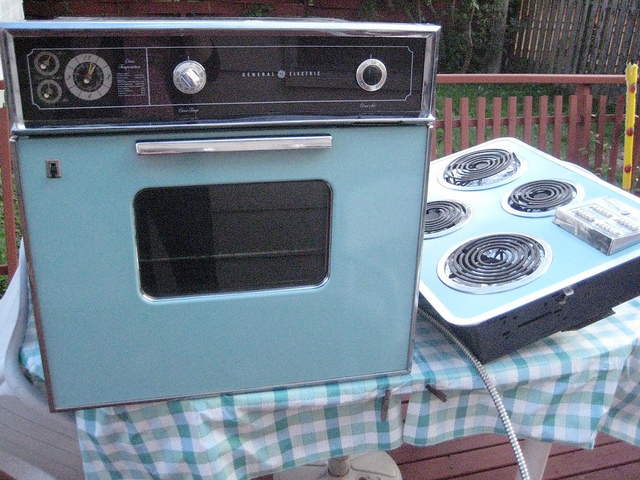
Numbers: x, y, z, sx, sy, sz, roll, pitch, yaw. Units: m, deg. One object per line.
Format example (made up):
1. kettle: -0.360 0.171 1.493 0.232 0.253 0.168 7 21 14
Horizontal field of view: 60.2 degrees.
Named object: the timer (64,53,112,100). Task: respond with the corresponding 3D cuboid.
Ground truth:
1. timer: -0.435 -0.306 1.031 0.077 0.081 0.018 -5 15 -11
